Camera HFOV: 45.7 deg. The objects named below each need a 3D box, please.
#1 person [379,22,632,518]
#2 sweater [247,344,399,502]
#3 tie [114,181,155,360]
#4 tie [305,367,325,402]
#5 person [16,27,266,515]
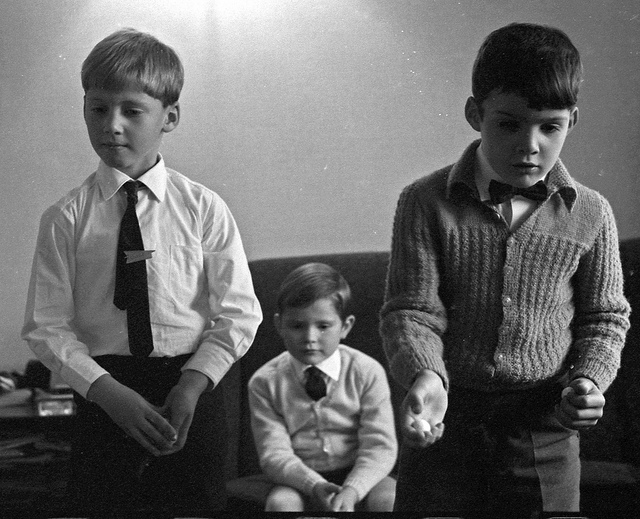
[{"bbox_3d":[0.404,0.051,1.624,0.532,1.122,0.328,3,9,-1],"label":"person"},{"bbox_3d":[0.008,0.388,1.741,0.321,0.342,0.213,-3,-8,-8],"label":"sweater"},{"bbox_3d":[-0.421,0.023,1.732,0.087,0.397,0.081,2,9,-7],"label":"tie"},{"bbox_3d":[-0.008,0.283,1.725,0.045,0.071,0.018,2,3,-1],"label":"tie"},{"bbox_3d":[-0.407,0.035,1.747,0.569,1.103,0.156,3,9,0],"label":"person"}]
